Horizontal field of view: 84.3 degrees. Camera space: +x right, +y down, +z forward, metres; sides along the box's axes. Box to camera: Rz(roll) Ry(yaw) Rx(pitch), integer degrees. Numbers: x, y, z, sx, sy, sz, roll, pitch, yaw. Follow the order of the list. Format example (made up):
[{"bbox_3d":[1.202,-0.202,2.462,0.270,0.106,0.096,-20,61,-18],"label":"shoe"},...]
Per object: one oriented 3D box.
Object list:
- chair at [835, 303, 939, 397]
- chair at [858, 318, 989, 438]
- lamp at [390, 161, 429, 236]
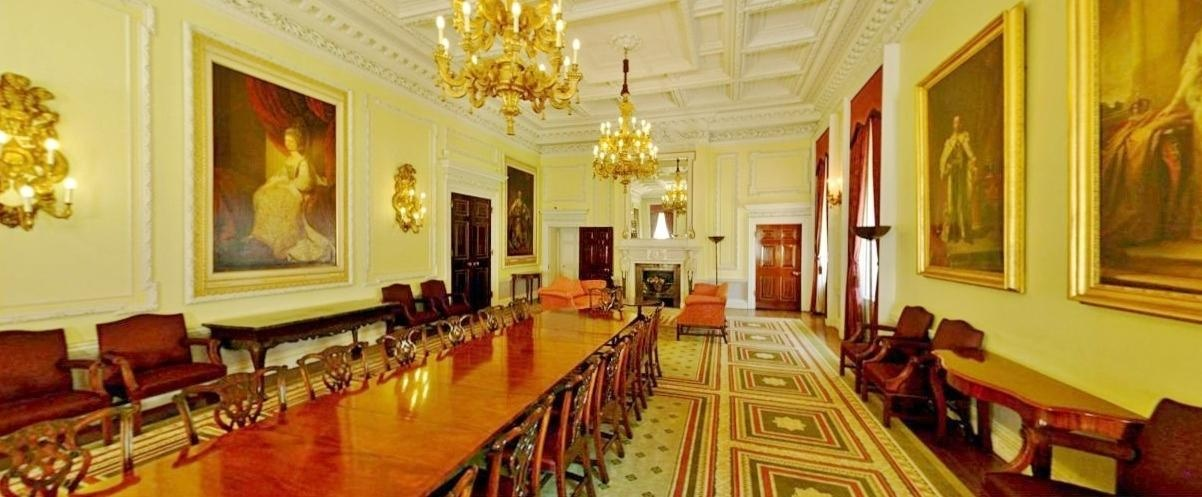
[{"bbox_3d":[5.745,1.830,12.755,1.947,1.909,1.618,1,-1,-2],"label":"chair"},{"bbox_3d":[6.154,2.195,12.056,2.352,2.225,1.951,1,-2,-5],"label":"chair"},{"bbox_3d":[-4.317,-1.145,14.938,0.223,1.524,0.826,-1,3,30],"label":"lamp"}]
